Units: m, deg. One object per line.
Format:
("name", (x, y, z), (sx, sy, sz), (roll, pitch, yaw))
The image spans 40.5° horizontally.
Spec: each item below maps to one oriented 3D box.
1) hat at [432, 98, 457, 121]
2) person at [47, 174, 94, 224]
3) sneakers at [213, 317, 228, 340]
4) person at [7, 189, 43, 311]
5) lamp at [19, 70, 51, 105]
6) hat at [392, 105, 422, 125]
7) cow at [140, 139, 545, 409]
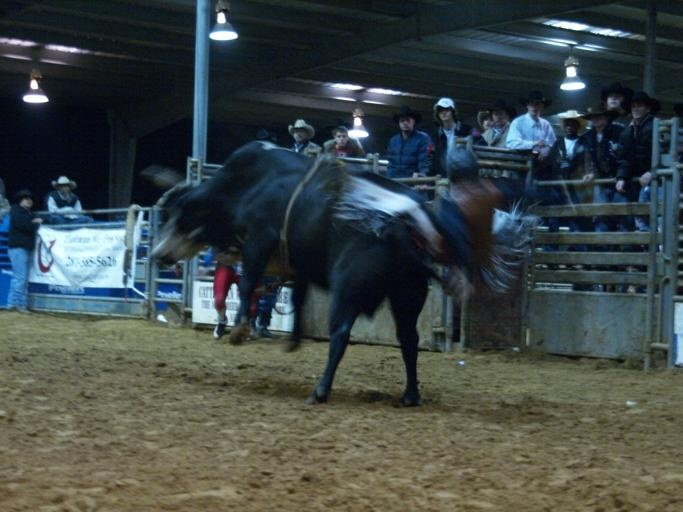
("hat", (1.382, -2.002, 12.322), (0.334, 0.218, 0.450), (-2, -18, 17))
("person", (-5.082, -0.912, 16.938), (0.719, 0.941, 1.057), (-2, 4, -19))
("sneakers", (-1.625, 0.976, 12.447), (0.147, 0.375, 0.172), (6, -1, -2))
("person", (-5.494, -0.065, 15.993), (0.636, 1.929, 1.105), (-3, 13, -17))
("lamp", (-7.212, -3.991, 21.730), (0.745, 0.695, 0.663), (9, 20, -5))
("hat", (0.924, -1.968, 12.727), (0.412, 0.158, 0.465), (-1, -17, 4))
("cow", (-0.069, 0.186, 8.999), (3.597, 2.413, 0.907), (7, 13, 26))
